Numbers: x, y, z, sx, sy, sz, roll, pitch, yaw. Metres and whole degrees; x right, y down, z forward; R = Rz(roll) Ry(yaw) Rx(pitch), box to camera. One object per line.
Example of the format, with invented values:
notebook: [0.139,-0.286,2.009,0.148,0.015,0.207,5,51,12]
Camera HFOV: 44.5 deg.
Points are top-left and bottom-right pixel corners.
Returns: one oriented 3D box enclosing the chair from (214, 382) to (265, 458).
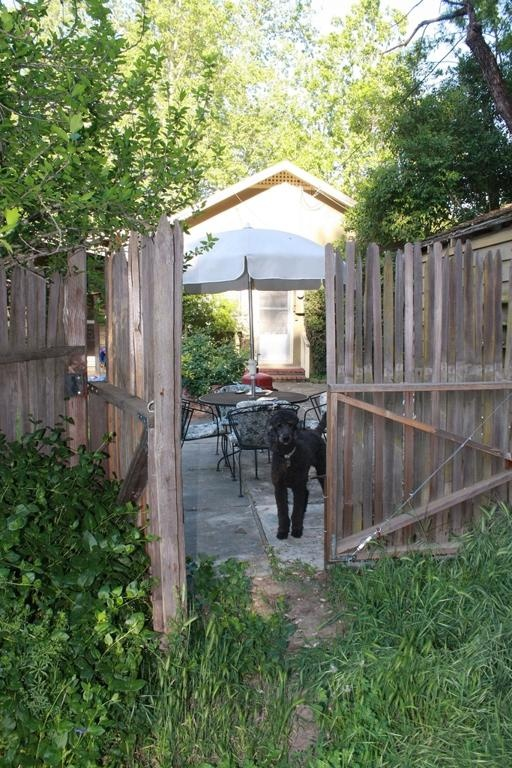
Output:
chair: [-0.076,0.420,5.880,0.616,0.746,0.656,1,14,2]

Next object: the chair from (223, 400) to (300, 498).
chair: [-0.011,0.511,5.803,0.579,0.804,0.586,-7,14,-25]

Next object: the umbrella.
umbrella: [-0.056,-0.783,6.720,1.598,1.710,1.528,-1,6,-3]

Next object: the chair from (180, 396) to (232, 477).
chair: [-0.634,0.520,6.880,0.505,0.681,0.446,-3,8,-12]
